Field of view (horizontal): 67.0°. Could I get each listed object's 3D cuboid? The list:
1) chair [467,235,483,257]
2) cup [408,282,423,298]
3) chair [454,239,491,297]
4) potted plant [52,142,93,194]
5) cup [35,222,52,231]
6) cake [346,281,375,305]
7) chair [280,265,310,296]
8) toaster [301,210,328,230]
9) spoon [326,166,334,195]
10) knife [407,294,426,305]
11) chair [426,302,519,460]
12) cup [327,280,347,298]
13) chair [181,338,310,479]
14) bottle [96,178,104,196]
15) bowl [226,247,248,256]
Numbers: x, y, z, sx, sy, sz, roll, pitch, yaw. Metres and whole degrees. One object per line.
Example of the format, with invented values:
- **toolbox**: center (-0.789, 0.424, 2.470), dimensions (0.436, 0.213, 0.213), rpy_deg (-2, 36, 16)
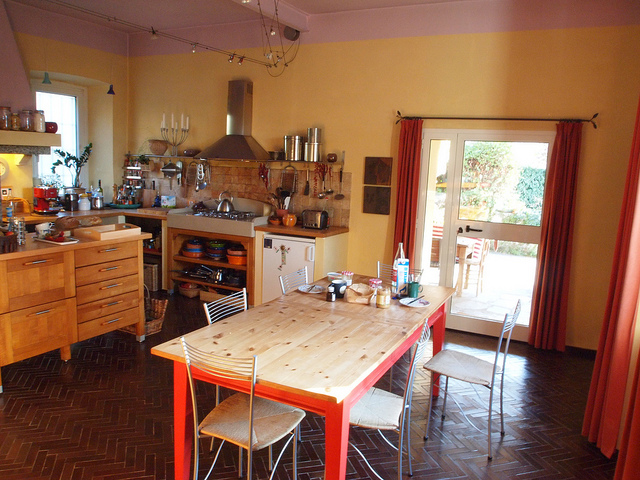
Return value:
- **chair**: center (1.975, 0.072, 6.169), dimensions (0.172, 0.329, 0.178), rpy_deg (20, 27, 39)
- **cup**: center (0.887, 0.458, 4.450), dimensions (0.159, 0.150, 0.100), rpy_deg (1, 4, 9)
- **chair**: center (1.941, 0.351, 6.235), dimensions (0.289, 0.616, 0.281), rpy_deg (-9, 5, 2)
- **potted plant**: center (-3.997, -1.158, 7.836), dimensions (0.334, 0.794, 0.552), rpy_deg (6, 10, 18)
- **cup**: center (-2.857, -0.138, 4.996), dimensions (0.090, 0.085, 0.111), rpy_deg (0, 3, -24)
- **cake**: center (0.362, 0.482, 4.376), dimensions (0.165, 0.095, 0.206), rpy_deg (7, 13, 15)
- **chair**: center (-0.282, 0.422, 4.897), dimensions (0.230, 0.406, 0.256), rpy_deg (-11, 13, -38)
- **toaster**: center (-0.089, -0.271, 6.584), dimensions (0.344, 0.251, 0.120), rpy_deg (7, 11, 20)
- **spoon**: center (0.148, -0.840, 6.818), dimensions (0.095, 0.388, 0.047), rpy_deg (2, 10, -9)
- **knife**: center (0.851, 0.538, 4.320), dimensions (0.149, 0.014, 0.019), rpy_deg (-26, 17, -35)
- **chair**: center (1.310, 1.226, 4.316), dimensions (0.696, 1.270, 0.657), rpy_deg (5, 9, 25)
- **cup**: center (0.165, 0.449, 4.351), dimensions (0.114, 0.118, 0.163), rpy_deg (1, 0, 8)
- **chair**: center (-0.577, 1.229, 3.738), dimensions (0.893, 1.233, 1.273), rpy_deg (2, 10, -6)
- **bottle**: center (-3.699, -0.879, 8.115), dimensions (0.116, 0.291, 0.376), rpy_deg (-1, 11, -25)
- **bowl**: center (-1.192, 0.169, 6.971), dimensions (0.280, 0.108, 0.267), rpy_deg (3, 10, -1)
